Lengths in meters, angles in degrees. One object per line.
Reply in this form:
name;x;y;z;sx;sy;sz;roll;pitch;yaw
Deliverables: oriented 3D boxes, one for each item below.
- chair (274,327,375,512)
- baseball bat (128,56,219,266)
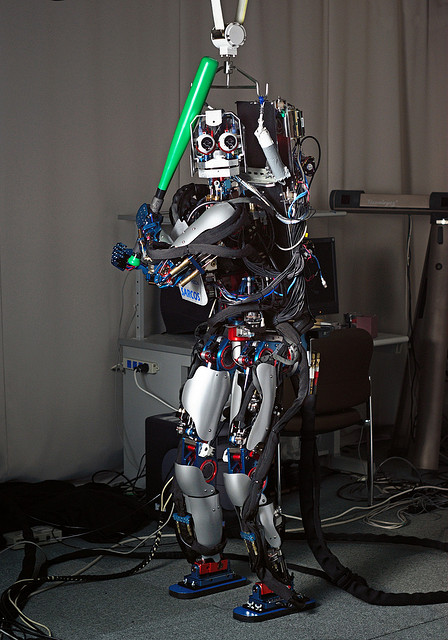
chair;0.408;0.431;2.527;0.566;0.779;0.543;-6;-17;17
baseball bat;-0.129;-0.322;1.396;0.075;0.613;0.074;21;14;1
